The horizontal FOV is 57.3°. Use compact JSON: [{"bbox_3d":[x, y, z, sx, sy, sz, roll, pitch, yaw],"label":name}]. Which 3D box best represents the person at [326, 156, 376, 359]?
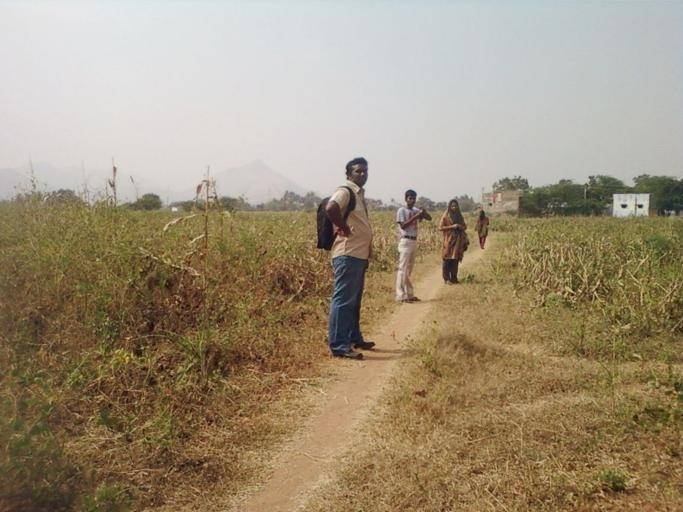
[{"bbox_3d":[0.103,0.019,8.828,0.537,2.812,0.808,3,5,34],"label":"person"}]

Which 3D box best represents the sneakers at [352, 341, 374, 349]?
[{"bbox_3d":[0.325,1.270,9.135,0.286,0.156,0.119,-3,3,2],"label":"sneakers"}]

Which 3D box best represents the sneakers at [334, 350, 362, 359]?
[{"bbox_3d":[0.088,1.381,8.839,0.382,0.207,0.156,-3,-5,11],"label":"sneakers"}]

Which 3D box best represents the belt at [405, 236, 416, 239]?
[{"bbox_3d":[1.307,-0.350,11.829,0.218,0.065,0.075,-2,5,-33],"label":"belt"}]
